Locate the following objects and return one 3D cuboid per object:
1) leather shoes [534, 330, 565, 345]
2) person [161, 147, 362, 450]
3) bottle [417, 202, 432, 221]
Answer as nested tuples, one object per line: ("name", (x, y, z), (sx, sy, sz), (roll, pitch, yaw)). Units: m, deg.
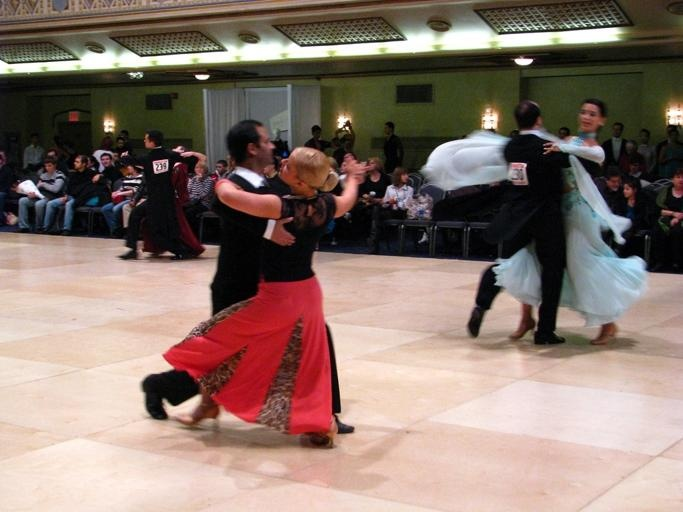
("leather shoes", (1.944, 0.746, 4.947), (0.330, 0.136, 0.096), (-2, 9, -22))
("person", (-0.398, 0.180, 2.778), (0.924, 1.456, 0.419), (1, 9, 1))
("bottle", (1.684, -0.876, 10.472), (0.451, 0.277, 0.097), (0, 2, -2))
